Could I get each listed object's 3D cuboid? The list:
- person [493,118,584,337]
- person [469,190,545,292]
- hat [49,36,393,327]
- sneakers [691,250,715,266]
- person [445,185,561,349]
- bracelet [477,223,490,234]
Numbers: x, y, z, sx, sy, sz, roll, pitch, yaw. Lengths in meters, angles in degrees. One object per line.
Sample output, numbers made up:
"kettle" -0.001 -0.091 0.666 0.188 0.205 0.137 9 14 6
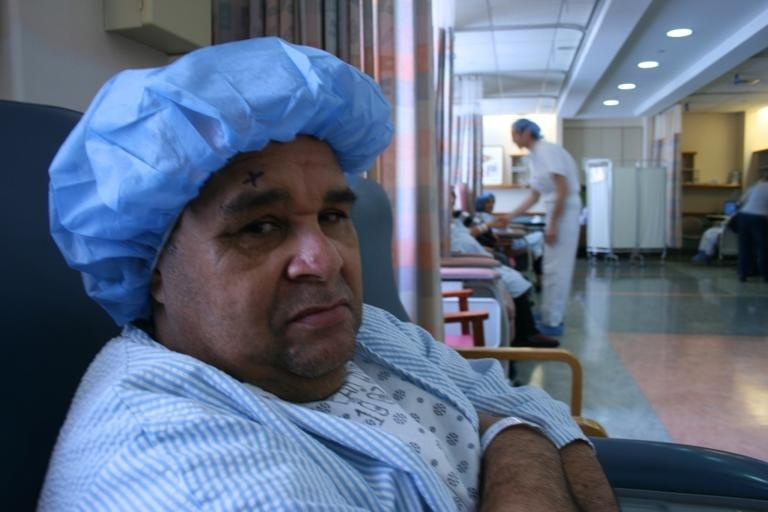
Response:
"person" 1.063 -0.193 4.892 0.400 1.432 0.651 -2 2 -25
"person" 1.090 -0.179 6.747 0.739 0.776 0.705 -19 23 -35
"hat" -0.536 -0.195 2.139 0.823 0.323 0.986 9 -22 -1
"sneakers" 4.410 0.041 10.128 0.214 0.196 0.547 26 3 13
"person" 0.837 0.049 4.874 0.761 1.013 0.387 6 -6 41
"bracelet" 0.769 -0.217 5.714 0.078 0.059 0.078 -9 15 -34
